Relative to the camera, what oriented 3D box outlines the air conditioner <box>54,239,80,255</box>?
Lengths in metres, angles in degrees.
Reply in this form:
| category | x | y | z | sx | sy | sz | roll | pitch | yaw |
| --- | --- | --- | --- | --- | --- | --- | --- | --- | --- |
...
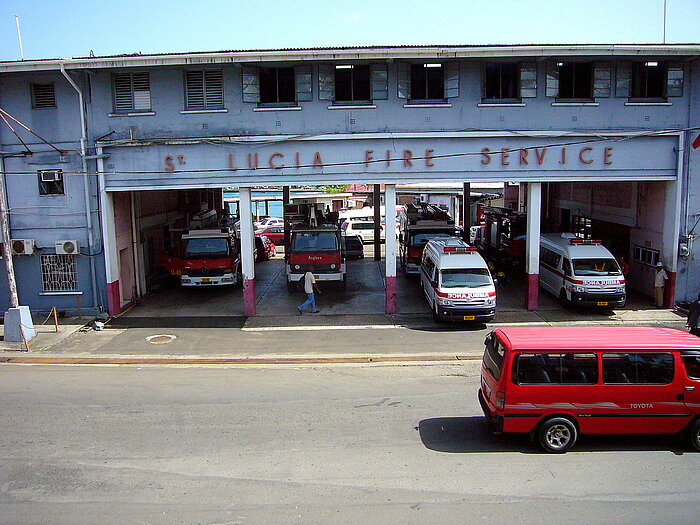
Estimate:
| category | x | y | z | sx | sy | sz | roll | pitch | yaw |
| --- | --- | --- | --- | --- | --- | --- | --- | --- | --- |
| air conditioner | -10.594 | -0.568 | 25.615 | 0.784 | 0.604 | 0.493 | 1 | 0 | 2 |

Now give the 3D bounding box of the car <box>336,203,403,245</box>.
| category | x | y | z | sx | sy | sz | roll | pitch | yaw |
| --- | --- | --- | --- | --- | --- | --- | --- | --- | --- |
| car | 1.291 | -2.220 | 44.792 | 4.184 | 2.285 | 2.541 | -7 | 8 | -2 |

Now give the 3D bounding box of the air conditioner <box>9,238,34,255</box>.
| category | x | y | z | sx | sy | sz | roll | pitch | yaw |
| --- | --- | --- | --- | --- | --- | --- | --- | --- | --- |
| air conditioner | -12.266 | -0.566 | 25.650 | 0.874 | 0.715 | 0.519 | 1 | 0 | -12 |

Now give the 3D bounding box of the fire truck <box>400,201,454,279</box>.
| category | x | y | z | sx | sy | sz | roll | pitch | yaw |
| --- | --- | --- | --- | --- | --- | --- | --- | --- | --- |
| fire truck | 3.606 | -1.399 | 34.799 | 2.330 | 3.323 | 6.758 | 7 | 11 | -2 |

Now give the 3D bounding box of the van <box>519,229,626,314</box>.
| category | x | y | z | sx | sy | sz | roll | pitch | yaw |
| --- | --- | --- | --- | --- | --- | --- | --- | --- | --- |
| van | 9.181 | 0.225 | 27.966 | 2.112 | 2.672 | 6.616 | 1 | 8 | -1 |

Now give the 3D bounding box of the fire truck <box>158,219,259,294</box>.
| category | x | y | z | sx | sy | sz | roll | pitch | yaw |
| --- | --- | --- | --- | --- | --- | --- | --- | --- | --- |
| fire truck | -6.446 | -0.516 | 32.052 | 2.798 | 2.773 | 5.710 | -2 | 9 | -1 |
